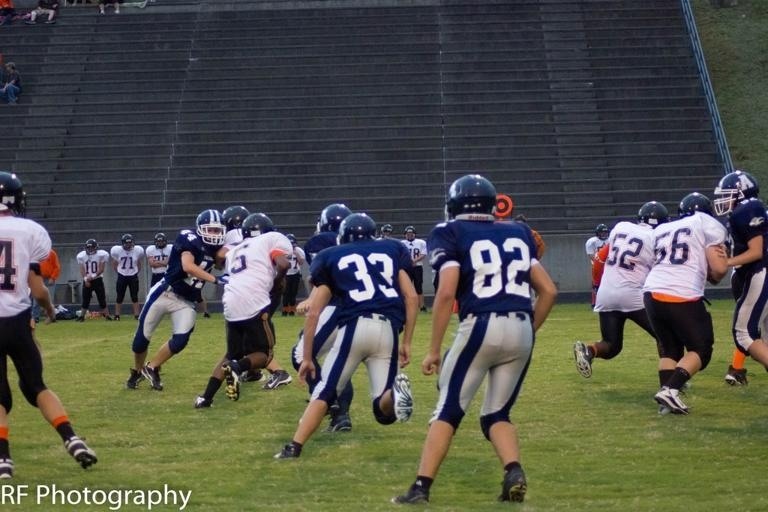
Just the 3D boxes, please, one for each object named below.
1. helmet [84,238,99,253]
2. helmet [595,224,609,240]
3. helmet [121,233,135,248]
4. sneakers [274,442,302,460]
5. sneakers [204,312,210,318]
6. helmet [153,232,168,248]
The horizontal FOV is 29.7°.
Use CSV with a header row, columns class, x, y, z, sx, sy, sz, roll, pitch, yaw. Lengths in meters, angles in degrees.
class,x,y,z,sx,sy,sz,roll,pitch,yaw
helmet,-8.073,-0.294,39.900,0.404,0.381,0.439,-1,1,-9
helmet,6.094,-0.685,39.851,0.412,0.416,0.498,2,2,-10
helmet,-7.024,-0.421,39.818,0.356,0.346,0.451,-2,2,-19
sneakers,-1.837,3.787,28.155,0.681,0.254,0.249,-2,-5,21
sneakers,-4.872,1.594,39.687,0.166,0.117,0.419,-2,-3,-6
helmet,-6.093,-0.460,39.302,0.372,0.381,0.456,-2,3,-11
